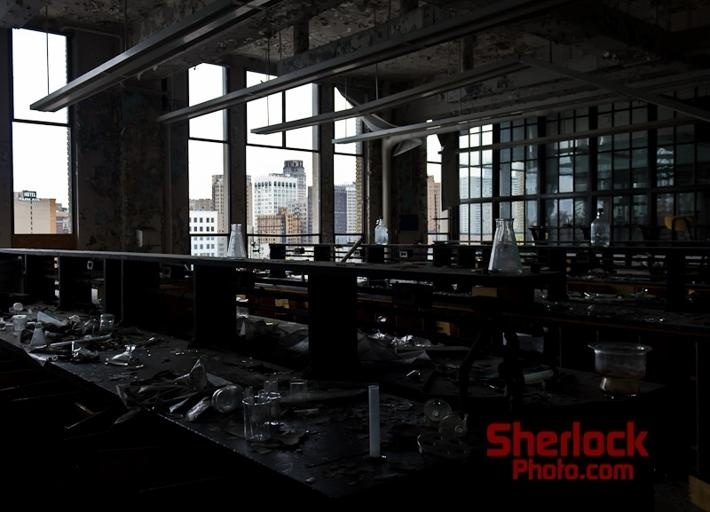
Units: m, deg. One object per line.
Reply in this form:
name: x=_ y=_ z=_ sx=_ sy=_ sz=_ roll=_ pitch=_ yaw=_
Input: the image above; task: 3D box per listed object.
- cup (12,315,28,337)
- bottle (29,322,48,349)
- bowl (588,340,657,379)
cup: x=-2.510 y=0.518 z=4.724 sx=0.109 sy=0.168 sz=0.178 roll=3 pitch=-3 yaw=-11
bottle: x=-2.199 y=0.560 z=4.385 sx=0.156 sy=0.197 sz=0.151 roll=-1 pitch=-6 yaw=0
bowl: x=1.339 y=0.522 z=3.272 sx=0.232 sy=0.104 sz=0.229 roll=1 pitch=-1 yaw=0
